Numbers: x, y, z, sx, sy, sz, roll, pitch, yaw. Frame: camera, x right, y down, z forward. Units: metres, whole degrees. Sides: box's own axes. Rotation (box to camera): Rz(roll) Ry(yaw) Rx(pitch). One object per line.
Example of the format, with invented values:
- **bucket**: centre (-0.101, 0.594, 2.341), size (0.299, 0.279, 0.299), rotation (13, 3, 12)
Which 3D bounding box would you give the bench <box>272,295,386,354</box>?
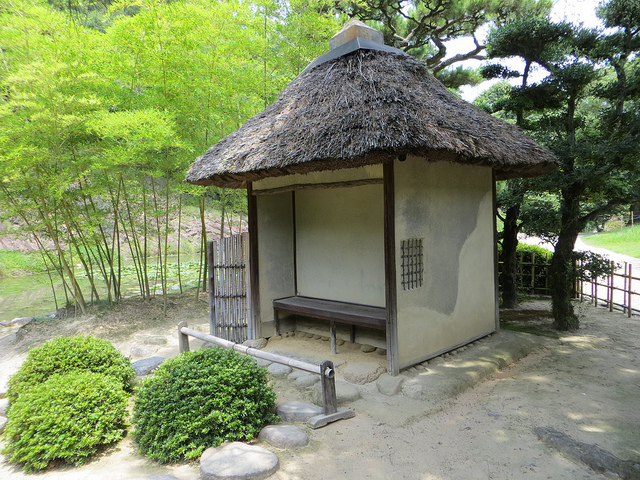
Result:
- **bench**: centre (0.417, 1.486, 7.387), size (2.834, 0.640, 0.711), rotation (6, 4, 38)
